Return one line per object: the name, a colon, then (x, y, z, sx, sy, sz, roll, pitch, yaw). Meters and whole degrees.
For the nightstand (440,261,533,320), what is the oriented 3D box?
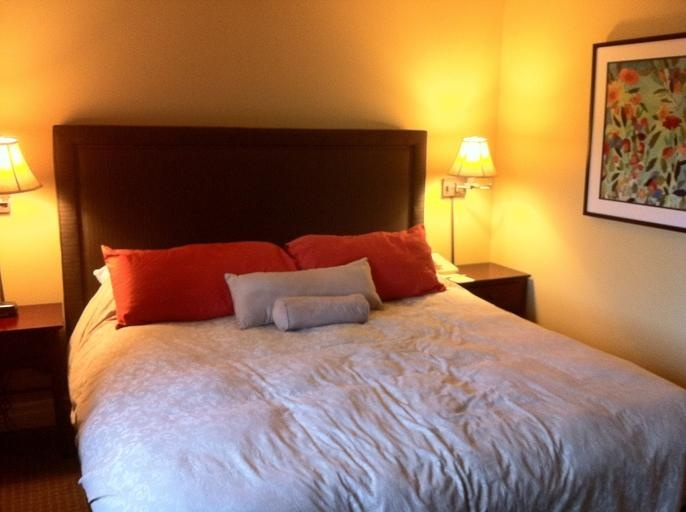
nightstand: (1.102, 0.315, 4.073, 0.471, 0.490, 0.473, -7, 16, 12)

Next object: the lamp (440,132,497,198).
lamp: (0.874, -0.591, 3.866, 0.341, 0.459, 0.298, 19, 28, 39)
